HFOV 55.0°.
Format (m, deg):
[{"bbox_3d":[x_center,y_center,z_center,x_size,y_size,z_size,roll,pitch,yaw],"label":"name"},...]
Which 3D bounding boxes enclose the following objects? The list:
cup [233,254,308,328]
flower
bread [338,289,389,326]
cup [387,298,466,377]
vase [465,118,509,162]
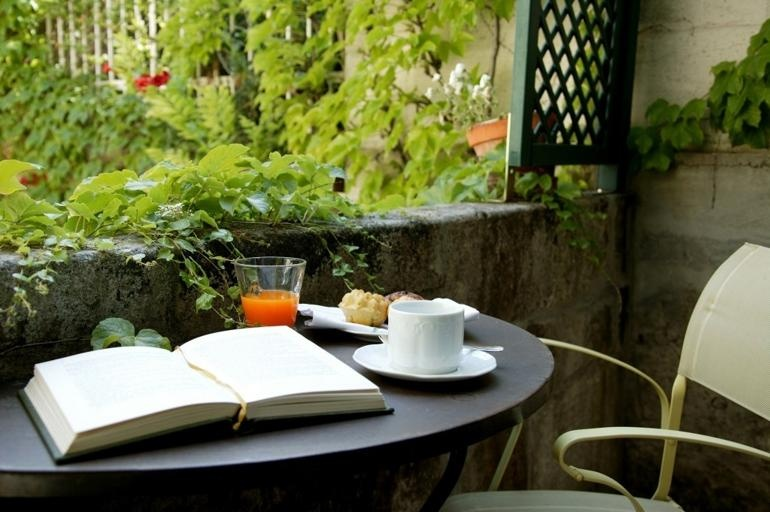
[{"bbox_3d":[-0.306,0.093,1.905,0.172,0.166,0.187,0,-1,0],"label":"cup"},{"bbox_3d":[0.353,-0.740,3.505,0.288,0.305,0.583,-2,12,5],"label":"flower"},{"bbox_3d":[-0.056,0.144,2.003,0.105,0.070,0.108,4,-3,9],"label":"bread"},{"bbox_3d":[0.098,0.203,1.857,0.171,0.140,0.179,0,3,0],"label":"cup"},{"bbox_3d":[0.429,-0.486,3.124,0.154,0.121,0.154,-5,0,-24],"label":"vase"}]
